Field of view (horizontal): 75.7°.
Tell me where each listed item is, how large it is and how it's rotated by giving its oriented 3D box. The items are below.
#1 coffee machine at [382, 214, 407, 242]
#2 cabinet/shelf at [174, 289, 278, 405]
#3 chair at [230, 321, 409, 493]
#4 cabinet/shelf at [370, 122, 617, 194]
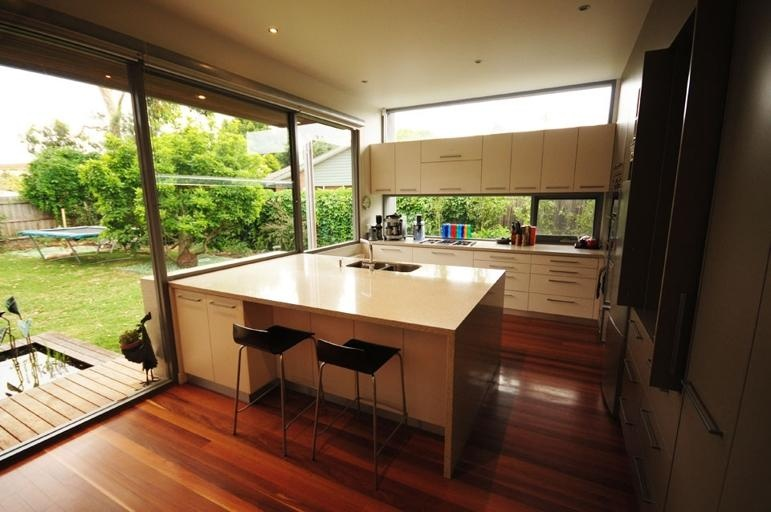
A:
[{"bbox_3d":[0.115,-0.407,7.001,0.312,0.365,0.313,-1,11,9],"label":"coffee machine"},{"bbox_3d":[-1.366,0.775,4.330,0.938,0.932,0.530,3,6,25],"label":"cabinet/shelf"},{"bbox_3d":[-0.543,1.059,3.992,1.322,1.129,0.649,2,12,23],"label":"chair"},{"bbox_3d":[1.275,-1.160,6.290,2.942,0.769,0.271,1,12,21],"label":"cabinet/shelf"}]
